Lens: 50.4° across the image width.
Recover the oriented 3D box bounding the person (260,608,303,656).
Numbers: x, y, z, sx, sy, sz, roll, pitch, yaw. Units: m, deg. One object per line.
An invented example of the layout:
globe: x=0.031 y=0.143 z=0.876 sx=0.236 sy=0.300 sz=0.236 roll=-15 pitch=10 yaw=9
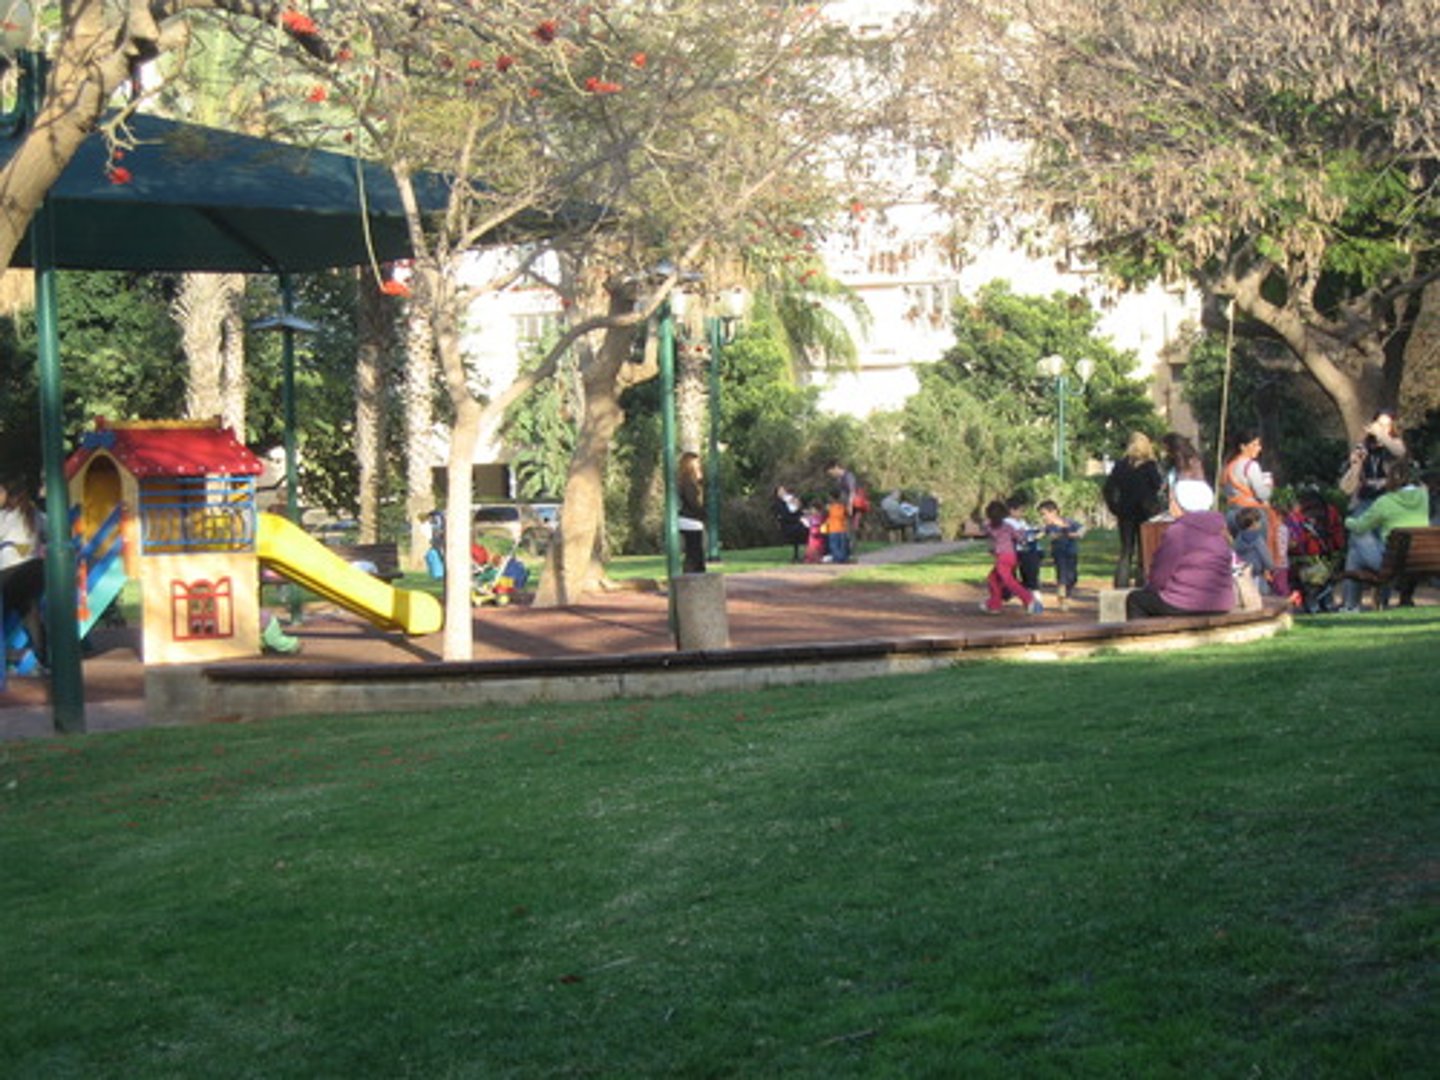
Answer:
person: x=-5.094 y=1.091 z=17.745 sx=0.282 sy=0.417 sz=0.840 roll=-2 pitch=-2 yaw=-37

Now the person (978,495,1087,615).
person: x=3.662 y=0.183 z=18.972 sx=0.698 sy=1.372 sz=2.637 roll=-3 pitch=7 yaw=11

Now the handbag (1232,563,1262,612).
handbag: x=5.315 y=0.471 z=15.267 sx=0.242 sy=0.494 sz=0.629 roll=-2 pitch=7 yaw=21

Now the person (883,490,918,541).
person: x=4.581 y=-0.596 z=38.221 sx=0.898 sy=1.263 sz=1.167 roll=-4 pitch=7 yaw=4

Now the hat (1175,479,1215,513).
hat: x=4.558 y=-0.408 z=14.540 sx=0.311 sy=0.335 sz=0.455 roll=-3 pitch=7 yaw=15

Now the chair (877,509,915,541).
chair: x=4.477 y=-0.417 z=38.422 sx=0.580 sy=0.758 sz=0.795 roll=6 pitch=-22 yaw=-24
